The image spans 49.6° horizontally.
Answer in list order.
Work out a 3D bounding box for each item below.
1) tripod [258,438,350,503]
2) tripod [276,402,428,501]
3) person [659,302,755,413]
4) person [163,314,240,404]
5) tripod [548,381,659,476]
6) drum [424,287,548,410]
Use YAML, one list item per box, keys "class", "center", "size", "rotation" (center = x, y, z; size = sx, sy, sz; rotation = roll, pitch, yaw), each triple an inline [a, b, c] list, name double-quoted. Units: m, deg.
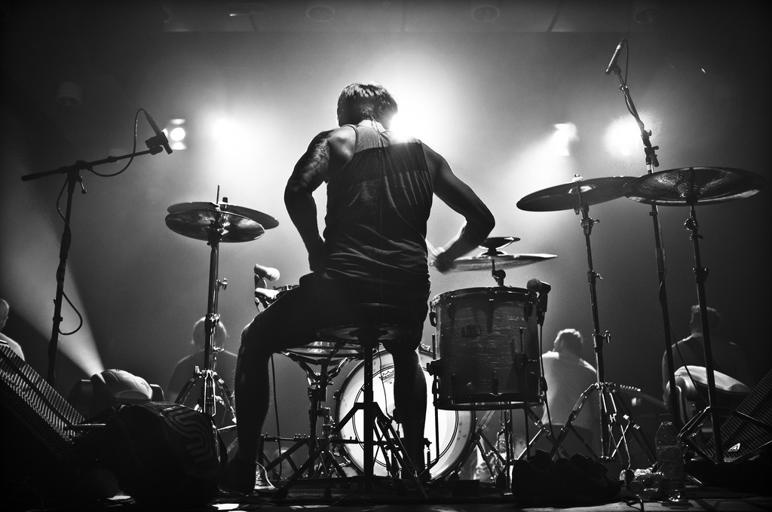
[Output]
- class: "tripod"
  center: [-0.703, 1.982, 7.956]
  size: [0.980, 0.268, 0.677]
  rotation: [0, -23, 7]
- class: "tripod"
  center: [-0.253, 1.568, 7.565]
  size: [1.143, 0.985, 1.330]
  rotation: [0, -3, -4]
- class: "person"
  center: [3.642, 1.151, 9.392]
  size: [1.281, 1.303, 0.921]
  rotation: [-10, -16, 28]
- class: "person"
  center: [-2.325, 1.297, 10.348]
  size: [1.220, 1.200, 0.768]
  rotation: [3, -6, 0]
- class: "tripod"
  center: [2.364, 1.903, 9.173]
  size: [0.902, 1.224, 0.764]
  rotation: [5, -35, -4]
- class: "drum"
  center: [1.021, 0.798, 8.324]
  size: [1.213, 1.065, 1.167]
  rotation: [-1, -5, 10]
